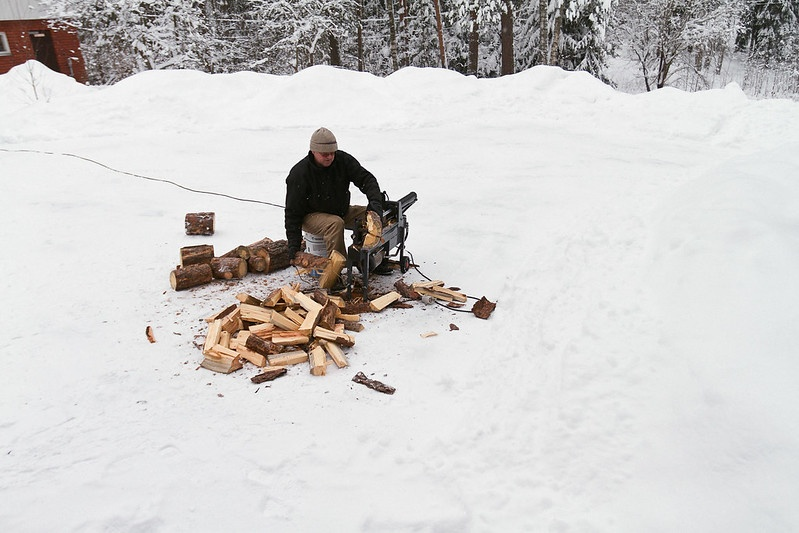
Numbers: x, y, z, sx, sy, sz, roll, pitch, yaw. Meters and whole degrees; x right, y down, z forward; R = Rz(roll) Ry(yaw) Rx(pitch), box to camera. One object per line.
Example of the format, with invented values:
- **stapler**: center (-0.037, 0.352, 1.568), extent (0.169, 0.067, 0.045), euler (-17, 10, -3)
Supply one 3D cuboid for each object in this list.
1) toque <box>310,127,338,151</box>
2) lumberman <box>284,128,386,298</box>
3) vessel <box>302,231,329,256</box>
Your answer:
- **toque**: center (-0.997, -1.620, 7.704), extent (0.342, 0.231, 0.257), euler (13, 24, 39)
- **lumberman**: center (-0.845, -0.745, 8.030), extent (1.291, 2.004, 1.168), euler (1, 29, 3)
- **vessel**: center (-1.130, -0.308, 8.204), extent (0.321, 0.304, 0.323), euler (2, 10, 19)
